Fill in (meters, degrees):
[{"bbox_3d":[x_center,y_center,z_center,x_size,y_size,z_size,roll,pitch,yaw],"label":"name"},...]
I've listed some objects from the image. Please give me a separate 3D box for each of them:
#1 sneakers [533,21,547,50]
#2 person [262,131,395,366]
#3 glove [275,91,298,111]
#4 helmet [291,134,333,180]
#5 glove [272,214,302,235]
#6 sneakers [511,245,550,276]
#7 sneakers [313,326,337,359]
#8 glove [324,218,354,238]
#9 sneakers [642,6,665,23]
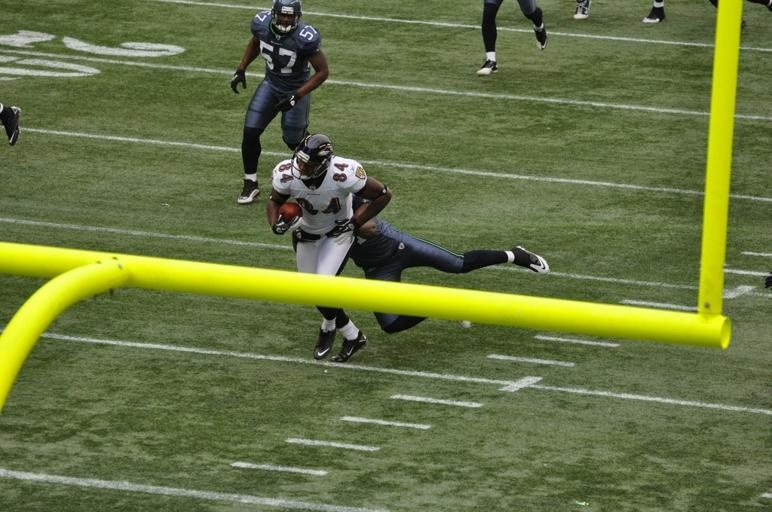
[{"bbox_3d":[1.884,-2.741,16.934,0.164,0.338,0.169,1,35,27],"label":"sneakers"},{"bbox_3d":[-0.498,-0.061,11.298,1.066,1.919,0.563,10,10,-16],"label":"person"},{"bbox_3d":[-0.940,-1.509,13.189,0.241,0.076,0.150,-18,31,31],"label":"glove"},{"bbox_3d":[-0.588,-0.810,11.056,0.301,0.379,0.209,11,9,-4],"label":"helmet"},{"bbox_3d":[-0.788,-0.256,10.981,0.234,0.117,0.100,-13,-26,9],"label":"glove"},{"bbox_3d":[1.262,0.030,12.102,0.509,0.139,0.168,16,41,-9],"label":"sneakers"},{"bbox_3d":[-0.500,0.732,11.558,0.143,0.277,0.153,12,-10,5],"label":"sneakers"},{"bbox_3d":[-0.366,-0.240,11.278,0.230,0.071,0.137,-34,53,-8],"label":"glove"},{"bbox_3d":[3.611,-3.282,18.520,0.288,0.244,0.265,11,8,7],"label":"sneakers"}]
